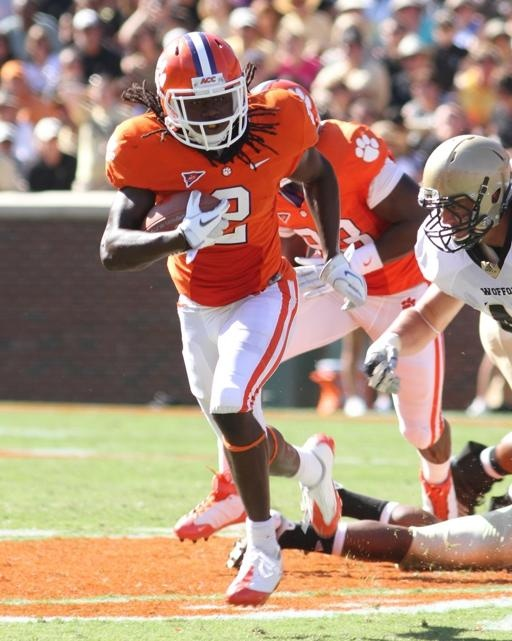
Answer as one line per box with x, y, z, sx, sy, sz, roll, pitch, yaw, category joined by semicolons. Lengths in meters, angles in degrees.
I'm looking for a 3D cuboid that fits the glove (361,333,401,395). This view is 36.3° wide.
0.343;0.119;2.135;0.121;0.148;0.065;-28;-39;31;glove

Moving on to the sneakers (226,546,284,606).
0.006;0.633;1.934;0.077;0.069;0.187;1;9;19;sneakers

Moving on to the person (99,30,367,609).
-0.066;-0.033;2.143;0.456;1.457;0.726;-4;-3;36;person

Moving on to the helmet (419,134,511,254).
0.518;-0.316;1.930;0.230;0.284;0.136;-2;-3;8;helmet

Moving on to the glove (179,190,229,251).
-0.127;-0.244;1.939;0.111;0.154;0.213;-2;-2;5;glove

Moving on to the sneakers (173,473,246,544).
-0.162;0.592;2.502;0.111;0.179;0.313;1;5;38;sneakers

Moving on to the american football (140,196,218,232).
-0.198;-0.254;1.957;0.152;0.072;0.112;-18;-1;20;american football
